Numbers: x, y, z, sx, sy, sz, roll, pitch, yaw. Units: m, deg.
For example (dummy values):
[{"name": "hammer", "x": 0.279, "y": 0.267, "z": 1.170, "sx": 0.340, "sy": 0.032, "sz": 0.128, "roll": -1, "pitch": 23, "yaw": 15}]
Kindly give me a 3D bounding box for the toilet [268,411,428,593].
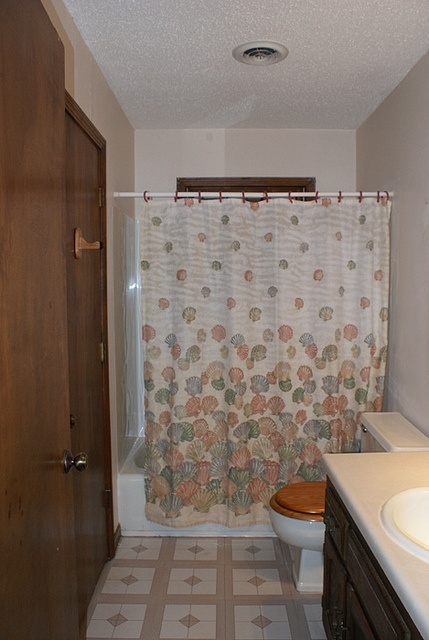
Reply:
[{"name": "toilet", "x": 0.520, "y": 0.757, "z": 2.274, "sx": 0.610, "sy": 0.688, "sz": 0.676, "roll": 1, "pitch": 4, "yaw": 4}]
